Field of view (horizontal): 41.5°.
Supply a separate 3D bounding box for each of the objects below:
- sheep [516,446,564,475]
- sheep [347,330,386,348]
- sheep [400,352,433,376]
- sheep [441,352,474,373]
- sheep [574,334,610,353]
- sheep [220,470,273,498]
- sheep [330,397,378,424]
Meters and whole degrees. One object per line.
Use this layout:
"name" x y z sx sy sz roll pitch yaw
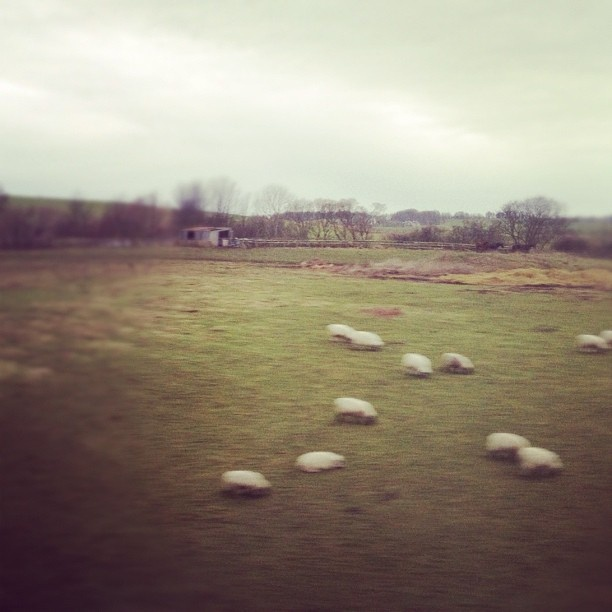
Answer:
"sheep" 2.233 1.477 7.718 0.420 0.226 0.289 2 7 10
"sheep" 0.789 0.447 10.713 0.468 0.211 0.328 2 7 13
"sheep" 1.342 0.697 9.736 0.381 0.228 0.318 2 6 5
"sheep" 1.878 0.701 9.997 0.421 0.240 0.385 2 6 9
"sheep" 4.096 0.521 11.545 0.445 0.234 0.357 3 7 21
"sheep" -0.531 1.578 7.234 0.455 0.184 0.243 2 7 6
"sheep" 0.479 1.049 8.331 0.374 0.147 0.320 3 1 31
